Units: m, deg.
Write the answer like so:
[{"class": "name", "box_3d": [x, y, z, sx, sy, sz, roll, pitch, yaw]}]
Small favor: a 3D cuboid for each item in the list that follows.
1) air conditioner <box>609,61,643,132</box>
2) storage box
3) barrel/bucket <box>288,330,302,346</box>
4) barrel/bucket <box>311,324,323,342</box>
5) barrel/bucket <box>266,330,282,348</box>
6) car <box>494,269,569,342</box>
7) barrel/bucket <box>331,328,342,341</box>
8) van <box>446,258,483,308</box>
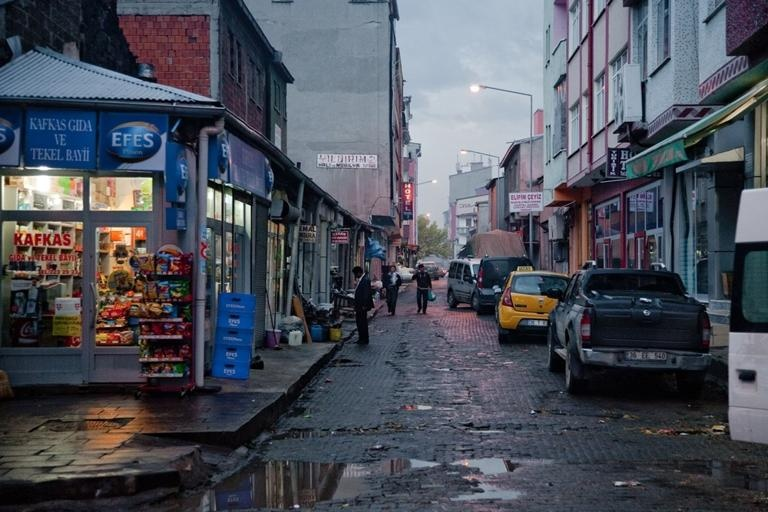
[{"class": "air conditioner", "box_3d": [6.996, -4.625, 22.483, 0.637, 1.937, 0.709, 7, -3, -23]}, {"class": "storage box", "box_3d": [-2.602, 1.423, 14.120, 0.733, 1.557, 0.741, 0, -2, 11]}, {"class": "barrel/bucket", "box_3d": [-2.164, 1.997, 19.133, 0.293, 0.310, 0.289, 0, -4, 0]}, {"class": "barrel/bucket", "box_3d": [-1.703, 1.996, 20.229, 0.324, 0.403, 0.341, 0, -4, 0]}, {"class": "barrel/bucket", "box_3d": [-2.533, 1.920, 18.170, 0.351, 0.380, 0.367, 0, -1, 0]}, {"class": "car", "box_3d": [3.697, 1.263, 20.551, 1.427, 1.526, 3.579, 0, -1, 10]}, {"class": "barrel/bucket", "box_3d": [-1.233, 2.058, 20.468, 0.265, 0.323, 0.270, 1, 2, 0]}, {"class": "van", "box_3d": [3.269, 1.060, 32.115, 1.196, 1.155, 1.969, 3, -7, -26]}]
